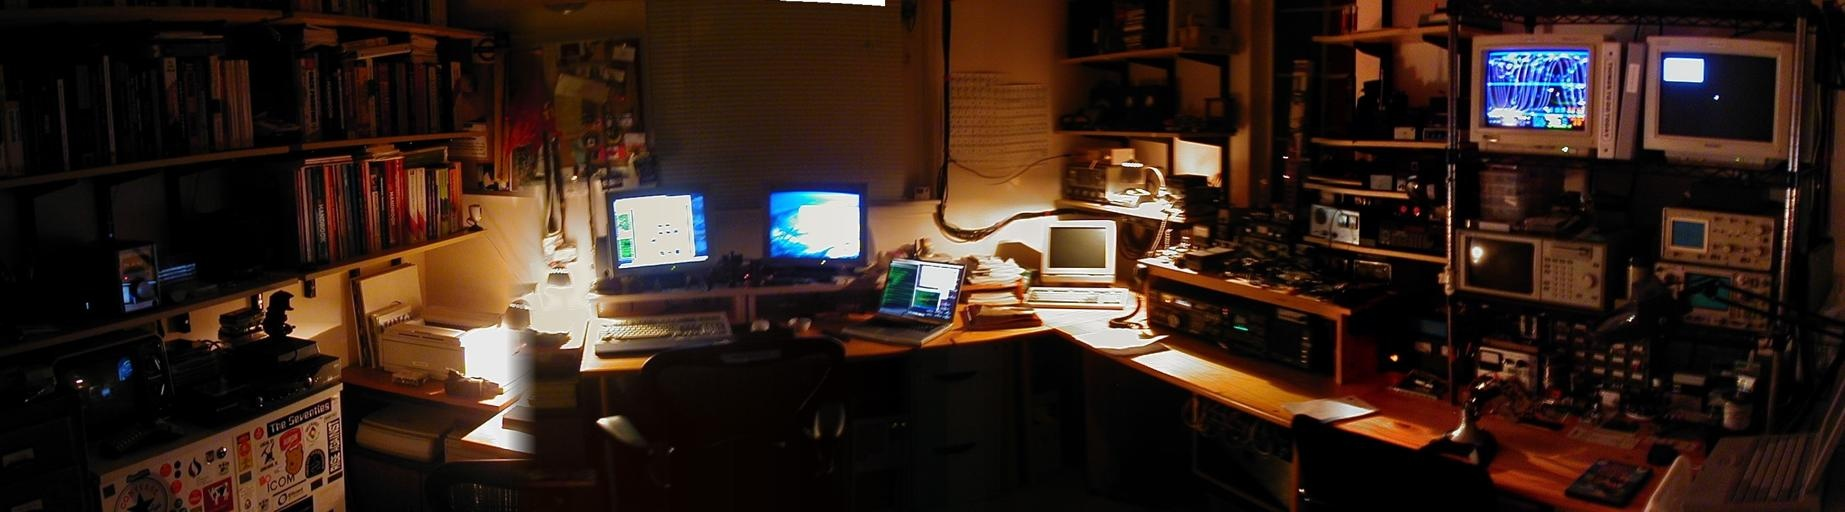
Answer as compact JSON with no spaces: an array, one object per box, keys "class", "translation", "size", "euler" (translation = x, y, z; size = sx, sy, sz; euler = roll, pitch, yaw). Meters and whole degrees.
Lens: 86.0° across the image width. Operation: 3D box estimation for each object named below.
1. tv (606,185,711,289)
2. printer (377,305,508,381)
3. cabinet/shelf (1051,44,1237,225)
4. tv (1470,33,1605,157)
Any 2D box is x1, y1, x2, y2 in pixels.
[{"class":"tv","translation":[-3.514,-0.278,13.357],"size":[1.701,1.193,0.698],"euler":[2,2,-2]},{"class":"printer","translation":[-6.080,1.243,13.081],"size":[0.899,0.672,1.442],"euler":[0,3,7]},{"class":"cabinet/shelf","translation":[3.054,-1.638,13.894],"size":[2.227,2.232,1.704],"euler":[0,2,6]},{"class":"tv","translation":[7.298,-1.922,11.794],"size":[1.471,1.412,0.226],"euler":[3,12,10]}]
